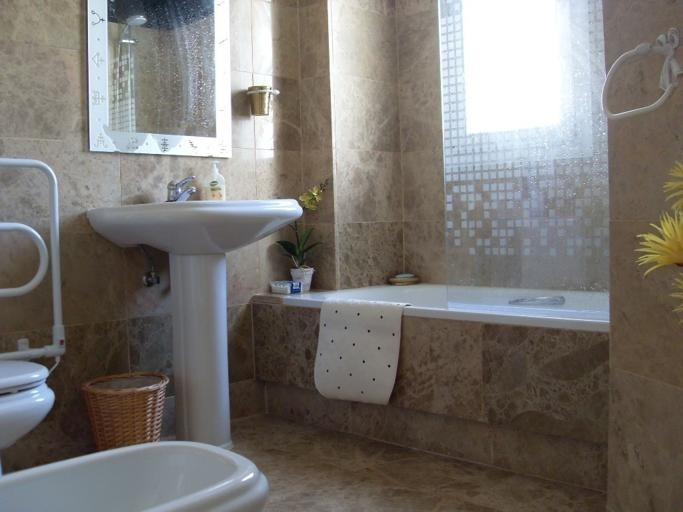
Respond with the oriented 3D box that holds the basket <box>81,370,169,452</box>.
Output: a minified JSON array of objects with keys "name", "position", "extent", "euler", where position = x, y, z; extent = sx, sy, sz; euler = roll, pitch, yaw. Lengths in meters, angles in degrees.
[{"name":"basket","position":[-0.909,0.582,2.386],"extent":[0.324,0.267,0.340],"euler":[-3,-5,-13]}]

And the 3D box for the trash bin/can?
[{"name":"trash bin/can","position":[-0.890,0.571,2.356],"extent":[0.317,0.266,0.342],"euler":[-4,-6,-10]}]

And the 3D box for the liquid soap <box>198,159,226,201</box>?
[{"name":"liquid soap","position":[-0.645,-0.368,2.825],"extent":[0.114,0.193,0.155],"euler":[-3,5,-14]}]

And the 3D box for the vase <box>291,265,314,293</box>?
[{"name":"vase","position":[-0.211,0.117,3.089],"extent":[0.137,0.175,0.121],"euler":[-7,10,-43]}]

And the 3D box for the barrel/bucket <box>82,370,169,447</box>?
[{"name":"barrel/bucket","position":[-0.902,0.570,2.374],"extent":[0.312,0.263,0.334],"euler":[-5,-5,0]}]
